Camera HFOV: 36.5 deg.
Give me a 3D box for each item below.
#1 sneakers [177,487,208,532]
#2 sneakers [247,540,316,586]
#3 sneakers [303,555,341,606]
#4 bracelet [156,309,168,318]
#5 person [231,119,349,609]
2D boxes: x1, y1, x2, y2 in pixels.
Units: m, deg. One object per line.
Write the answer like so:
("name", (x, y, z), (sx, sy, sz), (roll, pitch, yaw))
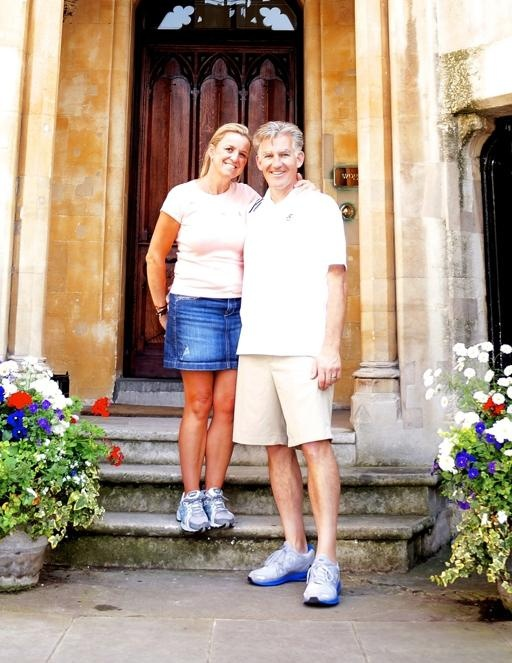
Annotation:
("sneakers", (-0.263, 0.756, 3.263), (0.135, 0.171, 0.182), (0, 1, -7))
("sneakers", (0.109, 0.913, 3.091), (0.335, 0.146, 0.116), (-1, -5, -27))
("sneakers", (0.246, 0.904, 2.846), (0.125, 0.186, 0.231), (0, 1, 9))
("bracelet", (-0.434, -0.091, 3.574), (0.037, 0.034, 0.049), (-1, 5, 4))
("person", (0.163, 0.071, 3.009), (0.365, 1.843, 0.582), (0, 1, -26))
